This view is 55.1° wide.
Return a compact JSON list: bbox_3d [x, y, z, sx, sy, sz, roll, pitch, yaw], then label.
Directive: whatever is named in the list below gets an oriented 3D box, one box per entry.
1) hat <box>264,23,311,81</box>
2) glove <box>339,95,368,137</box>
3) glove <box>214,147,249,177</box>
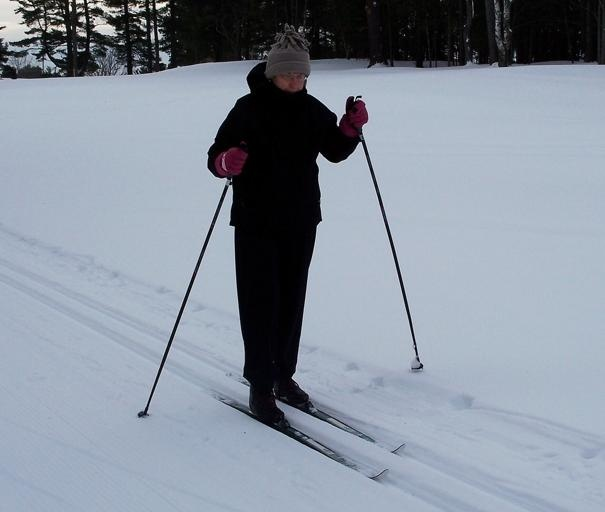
[{"bbox_3d":[-0.078,-1.095,3.112,0.211,0.279,0.270,-1,15,-7],"label":"hat"},{"bbox_3d":[0.296,-0.783,3.272,0.153,0.236,0.090,26,5,19],"label":"glove"},{"bbox_3d":[-0.366,-0.492,3.045,0.160,0.139,0.057,-28,-17,31],"label":"glove"}]
